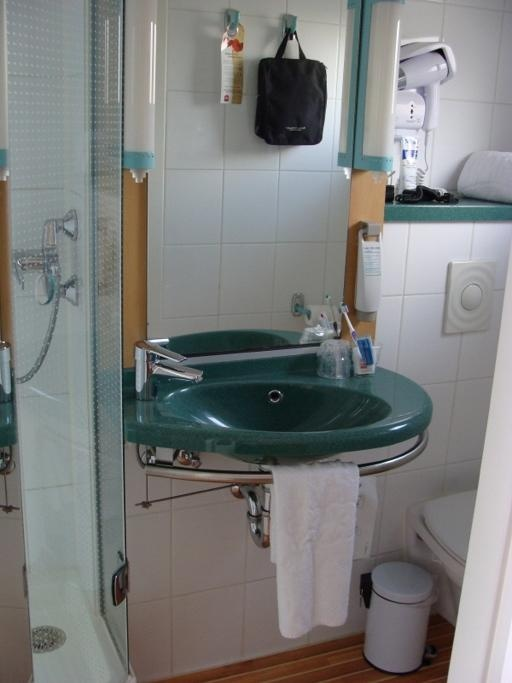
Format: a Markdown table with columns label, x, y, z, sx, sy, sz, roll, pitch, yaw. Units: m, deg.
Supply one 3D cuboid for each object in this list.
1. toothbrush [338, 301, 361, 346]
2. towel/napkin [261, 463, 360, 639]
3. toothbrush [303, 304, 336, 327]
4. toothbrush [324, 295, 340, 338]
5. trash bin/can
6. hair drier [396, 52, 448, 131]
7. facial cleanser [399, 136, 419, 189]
| label | x | y | z | sx | sy | sz | roll | pitch | yaw |
| --- | --- | --- | --- | --- | --- | --- | --- | --- | --- |
| toothbrush | 0.280 | -0.058 | 1.706 | 0.019 | 0.138 | 0.013 | -11 | -16 | -19 |
| towel/napkin | 0.136 | 0.484 | 1.302 | 0.204 | 0.431 | 0.072 | -4 | 16 | -18 |
| toothbrush | 0.189 | -0.079 | 1.684 | 0.080 | 0.070 | 0.072 | -4 | 1 | -18 |
| toothbrush | 0.225 | -0.088 | 1.707 | 0.027 | 0.179 | 0.014 | 4 | -15 | -45 |
| trash bin/can | 0.472 | 0.911 | 1.889 | 0.229 | 0.294 | 0.209 | -5 | 17 | -20 |
| hair drier | 0.516 | -0.799 | 1.792 | 0.192 | 0.227 | 0.083 | -7 | 17 | -26 |
| facial cleanser | 0.500 | -0.585 | 1.853 | 0.060 | 0.174 | 0.144 | 5 | 17 | 15 |
